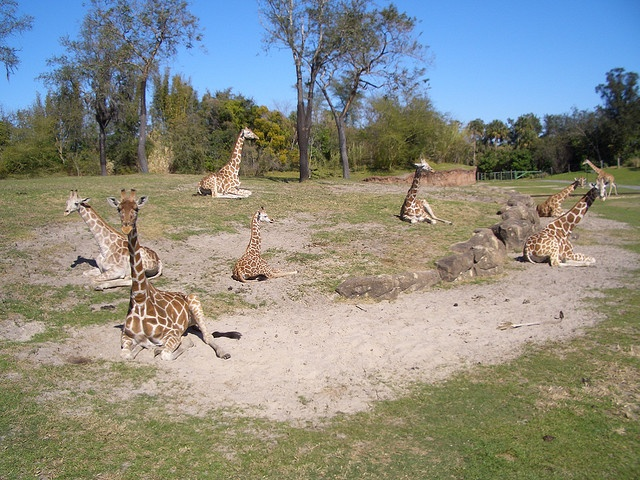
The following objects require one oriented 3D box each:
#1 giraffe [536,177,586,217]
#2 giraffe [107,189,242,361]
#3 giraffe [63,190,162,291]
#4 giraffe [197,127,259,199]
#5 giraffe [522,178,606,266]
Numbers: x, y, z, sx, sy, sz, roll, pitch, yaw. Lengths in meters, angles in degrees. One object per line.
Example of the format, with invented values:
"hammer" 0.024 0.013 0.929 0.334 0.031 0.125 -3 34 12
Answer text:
"giraffe" 10.491 -1.614 22.668 0.833 1.852 2.864 -4 -2 -31
"giraffe" -3.125 0.757 11.083 2.241 3.639 2.969 4 10 23
"giraffe" -5.514 -0.020 13.656 2.428 2.514 1.108 -8 18 -37
"giraffe" -4.167 -3.370 22.599 2.237 3.099 1.119 -1 9 -16
"giraffe" 7.569 -0.269 15.992 1.913 2.169 0.723 1 8 -1
